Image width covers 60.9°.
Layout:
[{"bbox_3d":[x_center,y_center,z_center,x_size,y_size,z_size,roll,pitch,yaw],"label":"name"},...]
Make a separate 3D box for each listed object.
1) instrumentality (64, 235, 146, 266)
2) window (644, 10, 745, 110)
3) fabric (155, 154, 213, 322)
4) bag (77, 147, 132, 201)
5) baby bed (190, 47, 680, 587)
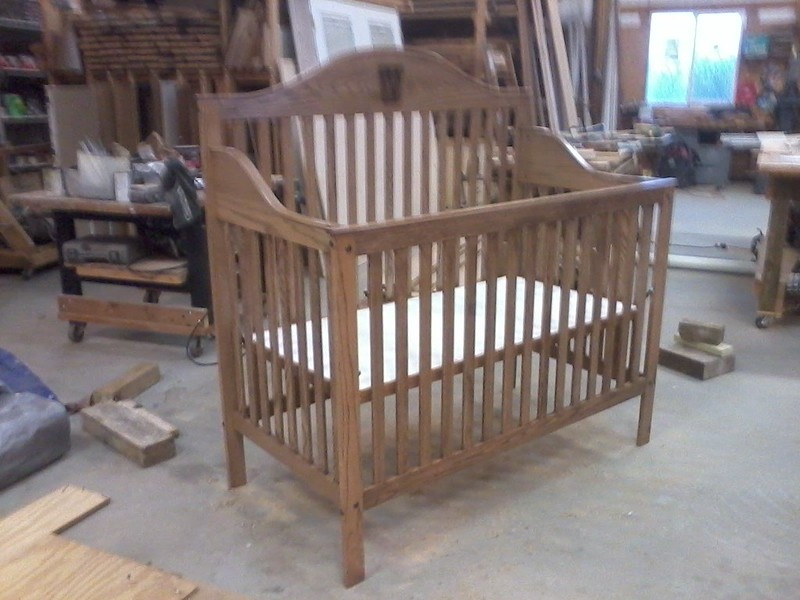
[{"bbox_3d":[-1.617,-0.291,3.697,0.286,0.095,0.203,1,18,11],"label":"instrumentality"},{"bbox_3d":[2.987,-2.462,6.873,1.041,1.051,0.106,0,18,-1],"label":"window"},{"bbox_3d":[-1.139,-0.306,3.520,0.190,0.879,0.242,15,33,33],"label":"fabric"},{"bbox_3d":[-1.602,-0.690,3.724,0.317,0.327,0.243,-1,17,-13],"label":"bag"},{"bbox_3d":[0.085,-0.122,2.695,1.681,1.652,1.175,-14,23,-31],"label":"baby bed"}]
